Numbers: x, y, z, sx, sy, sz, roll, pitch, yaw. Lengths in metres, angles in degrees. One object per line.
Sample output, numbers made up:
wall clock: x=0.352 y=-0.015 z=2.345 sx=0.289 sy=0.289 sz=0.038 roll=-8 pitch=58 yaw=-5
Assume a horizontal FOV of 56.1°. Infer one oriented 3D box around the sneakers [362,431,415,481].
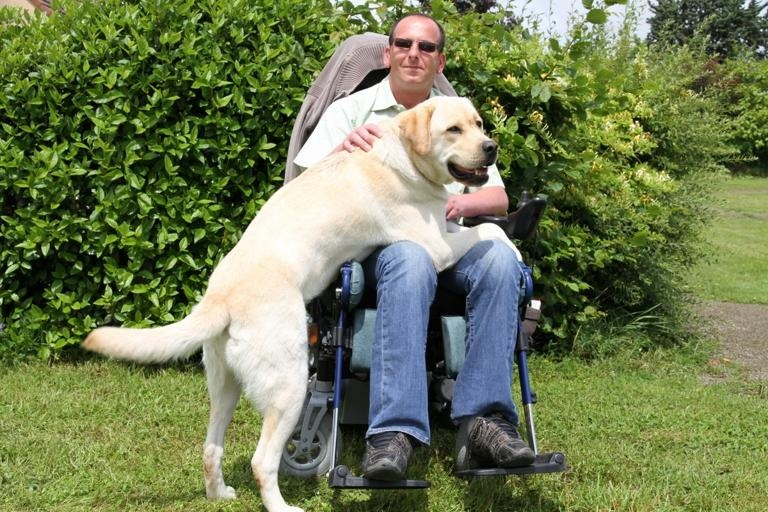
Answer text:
sneakers: x=0.030 y=1.304 z=4.692 sx=0.320 sy=0.286 sz=0.254 roll=3 pitch=3 yaw=2
